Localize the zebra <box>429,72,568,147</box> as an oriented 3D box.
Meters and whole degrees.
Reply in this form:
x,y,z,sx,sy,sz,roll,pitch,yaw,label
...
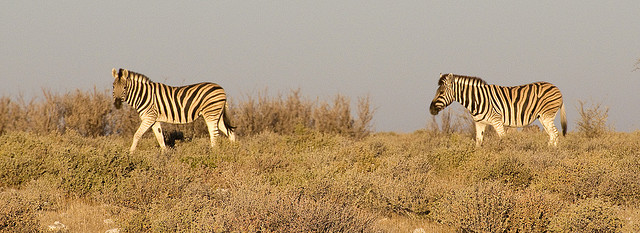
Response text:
x,y,z,sx,sy,sz,roll,pitch,yaw,label
10.007,-0.128,43.371,8.767,3.842,1.883,-2,2,-19,zebra
